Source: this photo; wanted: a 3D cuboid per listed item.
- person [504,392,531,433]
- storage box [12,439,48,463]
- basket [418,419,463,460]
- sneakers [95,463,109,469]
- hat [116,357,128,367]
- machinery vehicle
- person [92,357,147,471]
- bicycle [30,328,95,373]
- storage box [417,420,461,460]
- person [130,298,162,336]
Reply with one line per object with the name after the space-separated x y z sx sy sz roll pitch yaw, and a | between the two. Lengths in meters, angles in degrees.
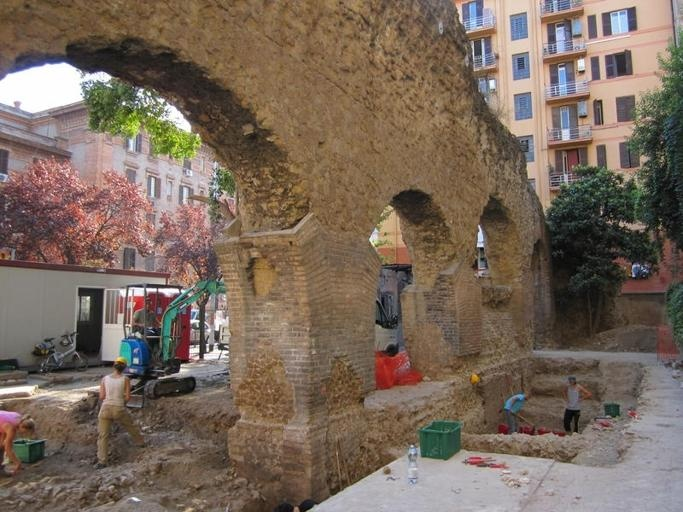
4.252 3.856 12.366 0.545 0.412 1.093 2 -42 10 | person
-5.459 3.402 8.885 0.403 0.285 0.364 -5 -11 25 | storage box
1.341 2.513 6.943 0.442 0.408 0.589 -5 -7 30 | basket
-3.969 3.507 8.442 0.173 0.072 0.301 2 -8 -25 | sneakers
-3.856 1.849 8.909 0.225 0.187 0.314 7 -5 -17 | hat
-3.863 1.653 12.210 2.590 2.086 0.915 -4 2 -24 | machinery vehicle
-3.912 2.726 8.956 0.724 1.805 0.963 0 -6 -13 | person
-8.379 2.950 15.486 0.750 1.121 1.582 -3 -3 36 | bicycle
1.387 2.516 6.934 0.363 0.292 0.560 -5 -13 26 | storage box
-4.988 1.567 12.926 0.478 0.848 0.588 -35 -34 25 | person
